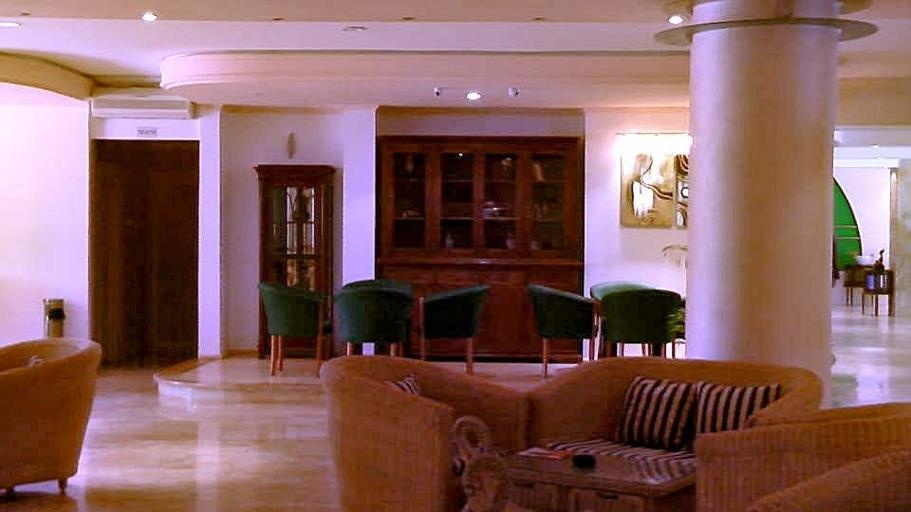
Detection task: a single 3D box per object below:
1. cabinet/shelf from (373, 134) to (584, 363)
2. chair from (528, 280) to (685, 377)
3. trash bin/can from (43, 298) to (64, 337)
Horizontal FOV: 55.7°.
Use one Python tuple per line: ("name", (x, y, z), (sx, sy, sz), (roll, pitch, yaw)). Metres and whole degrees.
("cabinet/shelf", (0.320, -0.073, 12.148), (3.733, 3.430, 1.144), (0, -1, 1))
("chair", (1.912, 0.929, 10.999), (1.511, 0.821, 1.106), (-1, -3, 10))
("trash bin/can", (-5.788, 0.868, 12.388), (0.294, 0.538, 0.238), (0, 0, -23))
